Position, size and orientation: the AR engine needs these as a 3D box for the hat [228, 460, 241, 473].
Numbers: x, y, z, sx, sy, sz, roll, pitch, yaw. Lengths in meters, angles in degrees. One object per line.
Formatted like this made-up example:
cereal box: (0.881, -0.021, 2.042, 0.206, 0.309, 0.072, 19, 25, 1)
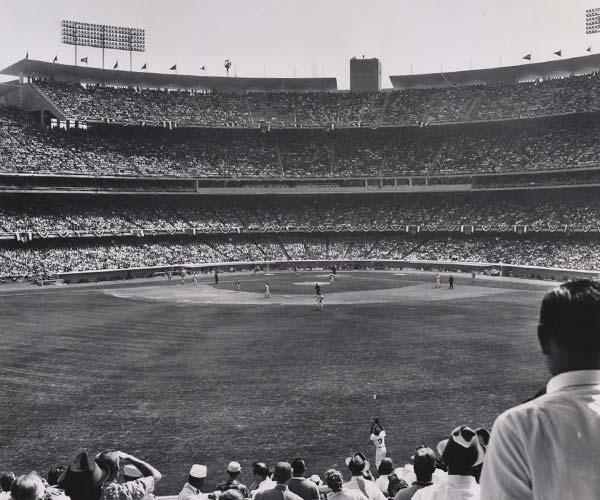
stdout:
hat: (-3.472, 11.507, 57.603, 0.588, 0.441, 0.737, 2, -8, -5)
